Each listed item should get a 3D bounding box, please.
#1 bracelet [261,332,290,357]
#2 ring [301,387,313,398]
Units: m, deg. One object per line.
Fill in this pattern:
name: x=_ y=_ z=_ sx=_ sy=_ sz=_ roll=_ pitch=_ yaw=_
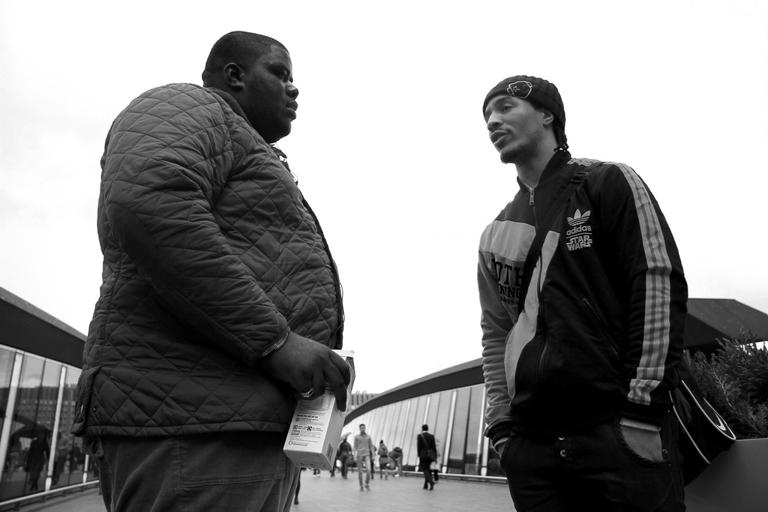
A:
bracelet: x=-0.396 y=0.325 z=1.941 sx=0.089 sy=0.033 sz=0.068 roll=-37 pitch=5 yaw=2
ring: x=-0.286 y=0.504 z=1.981 sx=0.041 sy=0.052 sz=0.028 roll=-11 pitch=-4 yaw=14
